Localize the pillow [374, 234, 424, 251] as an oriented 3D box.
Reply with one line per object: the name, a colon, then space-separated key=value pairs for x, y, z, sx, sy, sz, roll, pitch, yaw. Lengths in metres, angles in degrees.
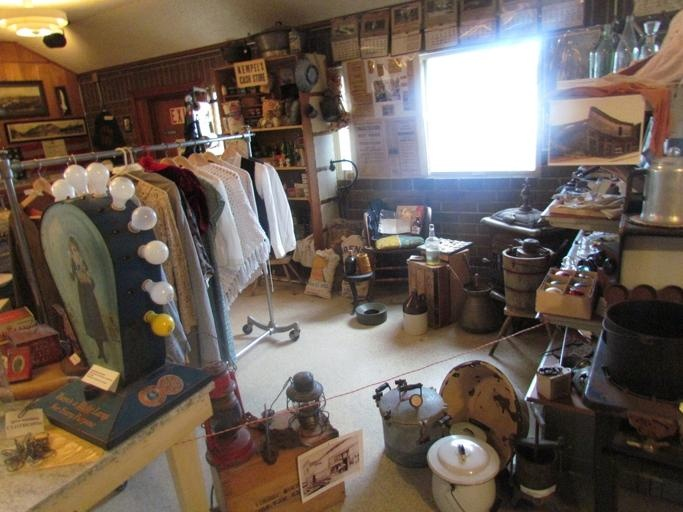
pillow: x=0.566 y=-0.144 z=5.101 sx=0.475 sy=0.100 sz=0.267 roll=-6 pitch=15 yaw=3

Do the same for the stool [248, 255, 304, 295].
stool: x=-0.665 y=0.179 z=5.847 sx=0.505 sy=0.629 sz=0.462 roll=-5 pitch=-7 yaw=3

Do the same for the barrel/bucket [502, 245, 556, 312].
barrel/bucket: x=1.403 y=0.135 z=3.919 sx=0.340 sy=0.532 sz=0.320 roll=-6 pitch=16 yaw=2

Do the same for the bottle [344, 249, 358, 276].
bottle: x=0.081 y=0.068 z=5.007 sx=0.133 sy=0.204 sz=0.162 roll=-3 pitch=16 yaw=12

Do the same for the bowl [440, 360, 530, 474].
bowl: x=0.854 y=0.891 z=3.062 sx=0.192 sy=0.527 sz=0.532 roll=-16 pitch=0 yaw=-31

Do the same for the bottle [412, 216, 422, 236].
bottle: x=0.755 y=-0.299 z=5.223 sx=0.087 sy=0.160 sz=0.102 roll=9 pitch=22 yaw=44

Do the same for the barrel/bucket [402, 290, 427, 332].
barrel/bucket: x=0.649 y=0.478 z=4.538 sx=0.246 sy=0.362 sz=0.205 roll=-18 pitch=19 yaw=-35

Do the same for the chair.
chair: x=0.566 y=-0.102 z=5.232 sx=0.681 sy=0.805 sz=0.585 roll=-2 pitch=16 yaw=2

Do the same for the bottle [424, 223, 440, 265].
bottle: x=0.798 y=-0.118 z=4.614 sx=0.137 sy=0.304 sz=0.404 roll=-4 pitch=16 yaw=11
